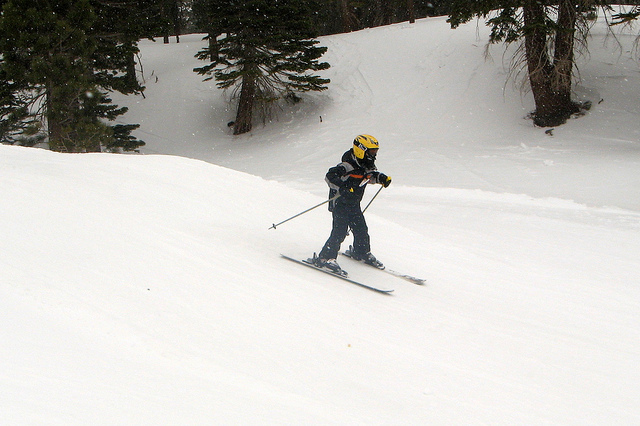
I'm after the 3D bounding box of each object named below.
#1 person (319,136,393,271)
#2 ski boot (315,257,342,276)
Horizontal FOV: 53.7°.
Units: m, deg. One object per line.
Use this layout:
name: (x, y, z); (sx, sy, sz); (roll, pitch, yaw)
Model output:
person: (0.649, -0.258, 12.740); (1.366, 2.552, 0.569); (-7, 15, -24)
ski boot: (0.188, 0.998, 12.707); (0.650, 0.262, 0.230); (23, 18, 8)
